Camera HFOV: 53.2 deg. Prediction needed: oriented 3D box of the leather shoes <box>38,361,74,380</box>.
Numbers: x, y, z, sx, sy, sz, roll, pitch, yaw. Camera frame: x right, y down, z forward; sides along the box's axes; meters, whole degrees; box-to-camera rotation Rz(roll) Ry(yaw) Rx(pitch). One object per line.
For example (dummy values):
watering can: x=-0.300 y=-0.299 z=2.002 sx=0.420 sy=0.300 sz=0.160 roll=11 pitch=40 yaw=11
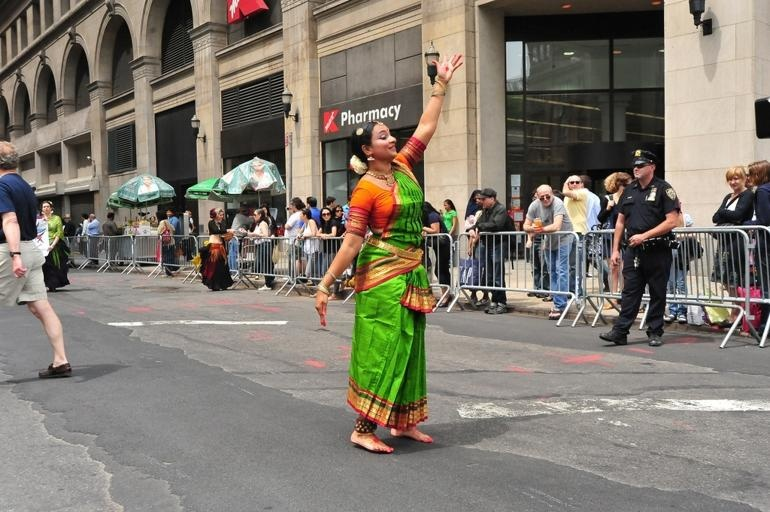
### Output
leather shoes: x=-4.100 y=1.428 z=9.490 sx=0.455 sy=0.187 sz=0.165 roll=1 pitch=-2 yaw=5

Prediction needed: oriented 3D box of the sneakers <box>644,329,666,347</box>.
sneakers: x=3.856 y=1.174 z=10.959 sx=0.194 sy=0.186 sz=0.447 roll=-2 pitch=-5 yaw=15

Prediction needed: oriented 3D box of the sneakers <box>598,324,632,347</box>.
sneakers: x=3.368 y=1.157 z=11.014 sx=0.540 sy=0.252 sz=0.201 roll=6 pitch=-6 yaw=-5

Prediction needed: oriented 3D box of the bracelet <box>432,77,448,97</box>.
bracelet: x=0.565 y=-1.704 z=7.840 sx=0.178 sy=0.231 sz=0.110 roll=10 pitch=11 yaw=-13

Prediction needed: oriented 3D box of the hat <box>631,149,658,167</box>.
hat: x=3.690 y=-1.400 z=10.810 sx=0.329 sy=0.161 sz=0.277 roll=12 pitch=-11 yaw=-43

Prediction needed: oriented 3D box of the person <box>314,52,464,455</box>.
person: x=-0.021 y=0.282 z=7.319 sx=0.948 sy=3.083 sz=0.641 roll=-1 pitch=9 yaw=-1
